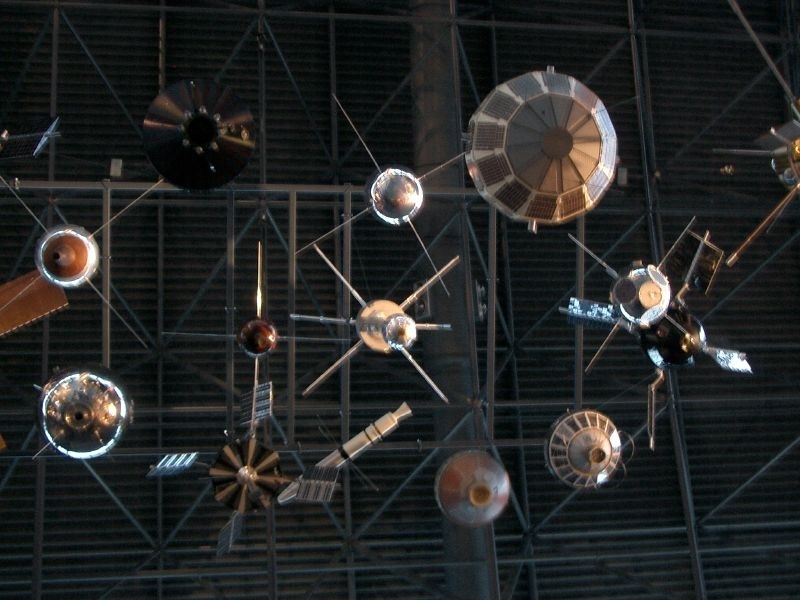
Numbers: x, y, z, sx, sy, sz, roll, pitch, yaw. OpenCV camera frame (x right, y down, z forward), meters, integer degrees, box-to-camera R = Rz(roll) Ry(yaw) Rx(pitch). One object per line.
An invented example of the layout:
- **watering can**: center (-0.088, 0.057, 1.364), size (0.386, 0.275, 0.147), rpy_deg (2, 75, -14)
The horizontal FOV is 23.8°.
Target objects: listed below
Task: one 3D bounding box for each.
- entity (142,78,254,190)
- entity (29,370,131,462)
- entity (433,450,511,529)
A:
- **entity**: center (-3.983, -3.323, 37.427), size (2.046, 0.922, 1.834), rpy_deg (27, -66, -13)
- **entity**: center (-6.117, 2.150, 36.515), size (1.776, 0.780, 1.523), rpy_deg (15, -64, -8)
- **entity**: center (1.462, 3.770, 38.676), size (1.470, 0.999, 1.295), rpy_deg (-1, -63, 1)
